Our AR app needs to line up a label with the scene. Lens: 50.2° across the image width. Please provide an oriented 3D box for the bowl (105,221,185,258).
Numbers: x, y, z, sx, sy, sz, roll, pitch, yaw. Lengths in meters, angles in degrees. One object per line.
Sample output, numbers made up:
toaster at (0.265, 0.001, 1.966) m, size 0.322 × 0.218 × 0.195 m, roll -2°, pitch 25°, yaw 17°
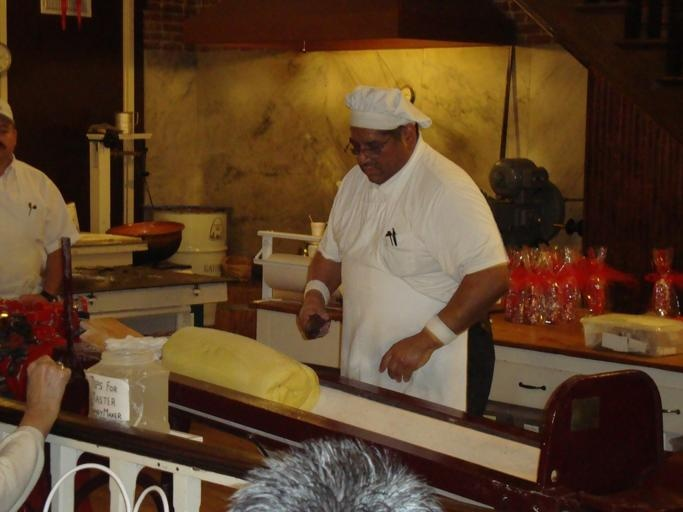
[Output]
bowl at (-1.767, -0.118, 6.792) m, size 0.645 × 0.278 × 0.663 m, roll -2°, pitch 14°, yaw 0°

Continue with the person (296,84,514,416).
person at (0.172, -0.052, 2.640) m, size 0.397 × 1.077 × 0.837 m, roll -4°, pitch 13°, yaw -44°

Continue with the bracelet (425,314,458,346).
bracelet at (0.333, 0.251, 2.485) m, size 0.094 × 0.052 × 0.093 m, roll 44°, pitch -2°, yaw -24°

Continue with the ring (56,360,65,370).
ring at (-0.768, 0.299, 1.992) m, size 0.032 × 0.008 × 0.033 m, roll 56°, pitch -6°, yaw 9°

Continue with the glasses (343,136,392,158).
glasses at (0.083, -0.391, 2.589) m, size 0.074 × 0.068 × 0.174 m, roll -3°, pitch 13°, yaw -42°

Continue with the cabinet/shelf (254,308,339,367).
cabinet/shelf at (-0.240, 0.515, 4.431) m, size 0.481 × 0.322 × 0.358 m, roll 4°, pitch -11°, yaw 27°

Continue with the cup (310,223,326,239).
cup at (-0.178, -0.171, 4.974) m, size 0.104 × 0.122 × 0.108 m, roll 0°, pitch 3°, yaw 0°
